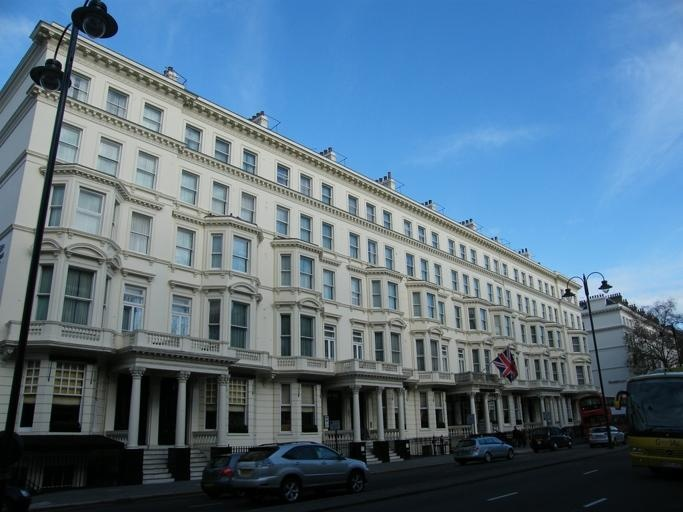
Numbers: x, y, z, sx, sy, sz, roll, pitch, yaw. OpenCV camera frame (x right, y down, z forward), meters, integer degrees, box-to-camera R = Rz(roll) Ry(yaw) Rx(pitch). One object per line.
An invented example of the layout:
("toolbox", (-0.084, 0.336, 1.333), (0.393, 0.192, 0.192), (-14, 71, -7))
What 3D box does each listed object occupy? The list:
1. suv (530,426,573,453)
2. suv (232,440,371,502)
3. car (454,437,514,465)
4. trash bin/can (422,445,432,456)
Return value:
("suv", (16.819, 14.819, 46.358), (4.522, 1.879, 1.197), (17, -32, -42))
("suv", (-1.656, 8.518, 22.748), (5.016, 1.597, 2.207), (9, -23, -35))
("car", (9.128, 12.511, 36.992), (4.309, 1.653, 1.179), (15, -31, -40))
("trash bin/can", (6.730, 15.375, 45.224), (0.764, 0.895, 1.009), (-6, -12, 33))
